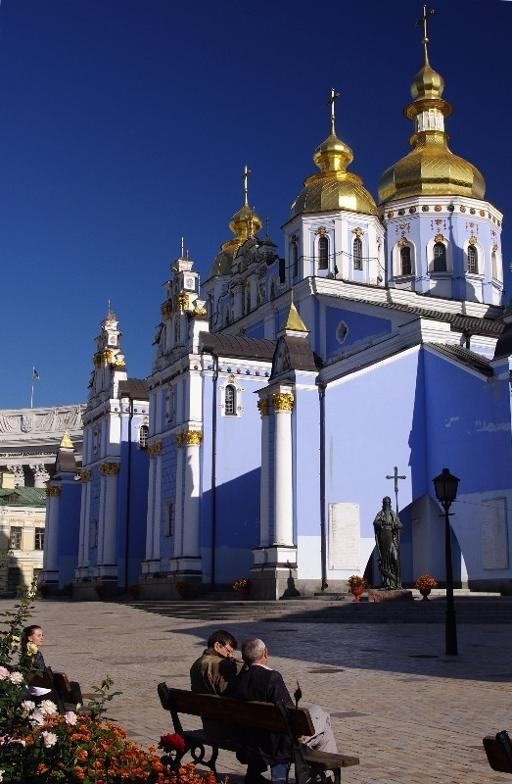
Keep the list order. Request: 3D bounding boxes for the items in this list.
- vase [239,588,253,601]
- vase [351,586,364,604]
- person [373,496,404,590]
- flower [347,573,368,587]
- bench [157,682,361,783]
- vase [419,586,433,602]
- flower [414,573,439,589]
[{"bbox_3d":[-0.279,5.664,26.936,0.374,0.400,0.364,-2,-10,-1],"label":"vase"},{"bbox_3d":[2.497,4.920,23.183,0.422,0.413,0.388,2,-26,-3],"label":"vase"},{"bbox_3d":[3.097,3.566,22.757,0.583,2.150,1.020,-2,-10,6],"label":"person"},{"bbox_3d":[2.538,4.659,23.623,0.435,0.295,0.424,4,-4,-39],"label":"flower"},{"bbox_3d":[-0.048,2.071,5.732,0.701,0.562,1.592,4,-11,-25],"label":"bench"},{"bbox_3d":[4.002,4.833,22.851,0.402,0.364,0.392,-1,-19,5],"label":"vase"},{"bbox_3d":[3.992,4.528,23.017,0.649,0.398,0.644,7,-13,-37],"label":"flower"}]
